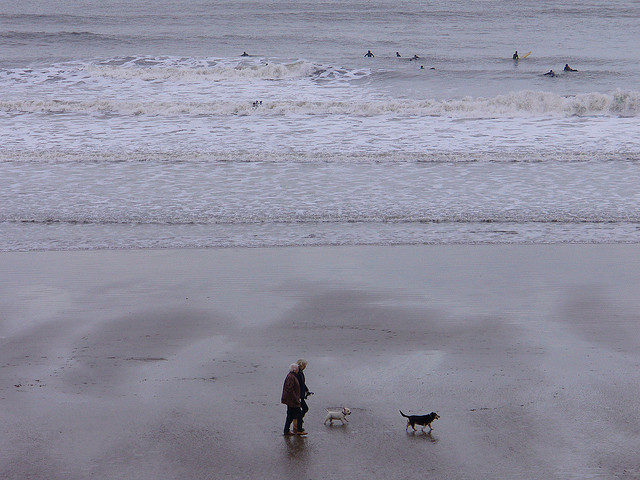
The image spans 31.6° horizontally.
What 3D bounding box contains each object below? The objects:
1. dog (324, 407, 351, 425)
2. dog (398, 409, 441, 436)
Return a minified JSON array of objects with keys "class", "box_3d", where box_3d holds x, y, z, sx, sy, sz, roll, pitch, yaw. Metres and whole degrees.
[{"class":"dog","box_3d":[0.392,4.122,26.757,0.581,0.366,0.304,3,31,5]},{"class":"dog","box_3d":[2.354,4.253,26.517,0.931,0.507,0.392,-2,32,-5]}]
